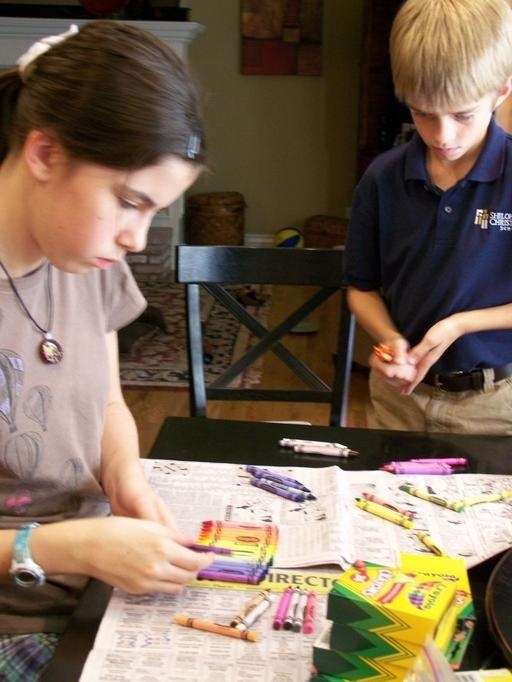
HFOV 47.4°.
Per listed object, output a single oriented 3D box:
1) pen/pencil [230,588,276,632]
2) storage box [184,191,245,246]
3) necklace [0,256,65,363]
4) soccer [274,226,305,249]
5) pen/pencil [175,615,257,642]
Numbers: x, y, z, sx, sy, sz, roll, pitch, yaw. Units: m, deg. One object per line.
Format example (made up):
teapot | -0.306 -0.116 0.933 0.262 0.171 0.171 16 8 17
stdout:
pen/pencil | -0.003 0.277 0.597 0.015 0.012 0.051 26 27 28
storage box | -0.296 -1.102 5.494 0.601 0.521 0.576 -14 21 -38
necklace | -0.307 -0.045 0.804 0.054 0.155 0.009 -21 -3 -35
soccer | 0.303 -0.969 5.485 0.250 0.133 0.370 -6 18 -15
pen/pencil | -0.039 0.287 0.577 0.063 0.009 0.009 4 -11 14
